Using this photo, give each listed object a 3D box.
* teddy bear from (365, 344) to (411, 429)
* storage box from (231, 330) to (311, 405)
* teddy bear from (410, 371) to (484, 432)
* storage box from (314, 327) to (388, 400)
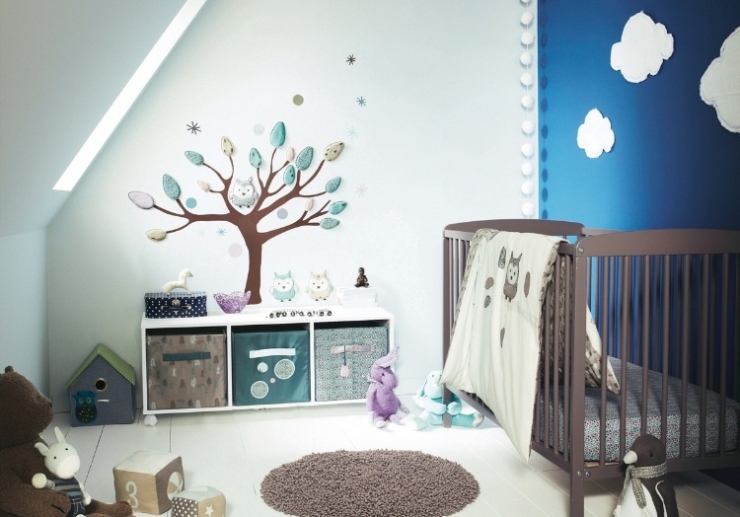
[{"bbox_3d":[0.103,0.769,3.417,0.253,0.450,0.250,0,9,1],"label":"teddy bear"},{"bbox_3d":[-0.656,0.665,3.641,0.431,0.471,0.455,1,-4,-19],"label":"storage box"},{"bbox_3d":[0.415,0.842,3.380,0.414,0.354,0.288,-13,18,-2],"label":"teddy bear"},{"bbox_3d":[-0.178,0.606,3.760,0.512,0.565,0.419,0,-1,-13],"label":"storage box"}]
